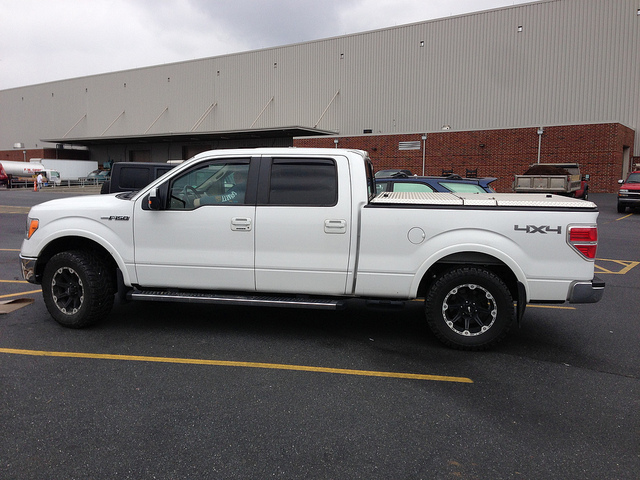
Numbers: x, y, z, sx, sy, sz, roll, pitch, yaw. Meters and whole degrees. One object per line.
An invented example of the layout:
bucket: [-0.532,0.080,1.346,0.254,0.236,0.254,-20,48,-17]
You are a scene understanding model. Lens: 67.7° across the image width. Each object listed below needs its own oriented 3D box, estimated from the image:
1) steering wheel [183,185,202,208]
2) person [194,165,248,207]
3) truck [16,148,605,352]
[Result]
steering wheel: [-1.680,-0.580,6.267,0.236,0.286,0.043,1,8,6]
person: [-1.177,-0.644,6.168,0.943,0.523,0.292,0,11,-15]
truck: [-0.221,0.012,7.025,7.275,2.540,3.114,3,5,8]
